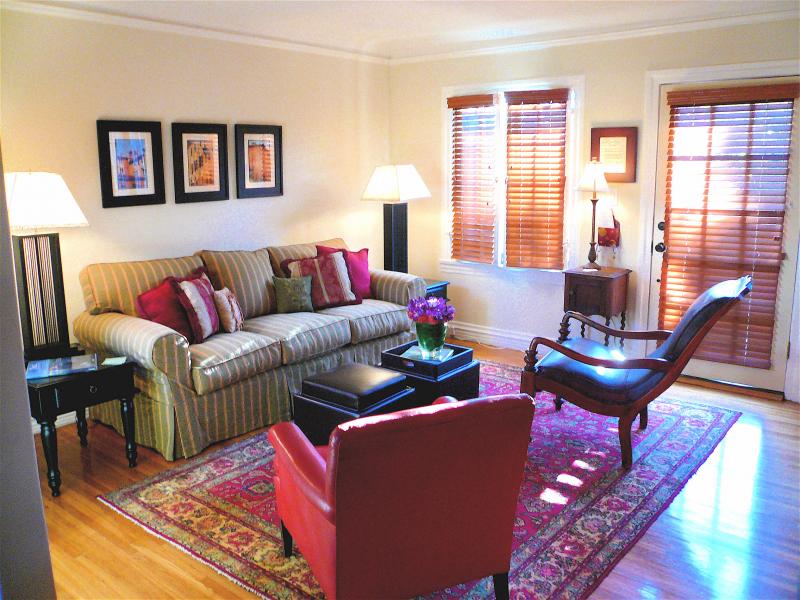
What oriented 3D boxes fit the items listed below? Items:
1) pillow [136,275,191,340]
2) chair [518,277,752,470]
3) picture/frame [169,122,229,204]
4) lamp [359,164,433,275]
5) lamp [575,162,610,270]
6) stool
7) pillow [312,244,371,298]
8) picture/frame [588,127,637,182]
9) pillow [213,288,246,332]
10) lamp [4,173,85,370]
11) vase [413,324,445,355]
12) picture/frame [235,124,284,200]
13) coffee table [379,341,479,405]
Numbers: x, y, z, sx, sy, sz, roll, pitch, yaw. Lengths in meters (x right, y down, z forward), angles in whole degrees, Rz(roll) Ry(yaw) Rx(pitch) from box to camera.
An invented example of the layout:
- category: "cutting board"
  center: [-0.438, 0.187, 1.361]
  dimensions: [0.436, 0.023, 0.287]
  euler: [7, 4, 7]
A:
- category: "pillow"
  center: [-1.567, 0.074, 3.988]
  dimensions: [0.302, 0.412, 0.217]
  euler: [-9, 14, -26]
- category: "chair"
  center: [1.444, 0.372, 4.201]
  dimensions: [1.477, 1.440, 1.102]
  euler: [7, 15, 23]
- category: "picture/frame"
  center: [-1.580, -1.071, 4.665]
  dimensions: [0.057, 0.775, 0.578]
  euler: [11, 15, 40]
- category: "lamp"
  center: [-0.057, -0.716, 5.480]
  dimensions: [0.586, 0.976, 0.595]
  euler: [1, 17, -2]
- category: "lamp"
  center: [1.598, -0.713, 4.983]
  dimensions: [0.238, 0.873, 0.318]
  euler: [1, 13, 18]
- category: "stool"
  center: [-0.287, 0.551, 3.590]
  dimensions: [0.493, 0.451, 0.498]
  euler: [4, 12, 36]
- category: "pillow"
  center: [-0.502, -0.221, 5.013]
  dimensions: [0.425, 0.435, 0.148]
  euler: [-6, -5, -34]
- category: "picture/frame"
  center: [1.743, -1.171, 4.892]
  dimensions: [0.443, 0.559, 0.036]
  euler: [5, 9, 42]
- category: "pillow"
  center: [-1.226, 0.076, 4.285]
  dimensions: [0.098, 0.211, 0.264]
  euler: [-1, 16, 2]
- category: "lamp"
  center: [-2.145, -0.201, 3.637]
  dimensions: [0.430, 1.116, 0.413]
  euler: [-3, 13, -4]
- category: "vase"
  center: [0.202, 0.243, 3.911]
  dimensions: [0.175, 0.234, 0.211]
  euler: [-2, 13, 4]
- category: "picture/frame"
  center: [-1.203, -1.169, 5.055]
  dimensions: [0.064, 0.783, 0.589]
  euler: [10, 14, 43]
- category: "coffee table"
  center: [0.185, 0.443, 3.952]
  dimensions: [0.422, 0.332, 0.431]
  euler: [7, 15, 38]
